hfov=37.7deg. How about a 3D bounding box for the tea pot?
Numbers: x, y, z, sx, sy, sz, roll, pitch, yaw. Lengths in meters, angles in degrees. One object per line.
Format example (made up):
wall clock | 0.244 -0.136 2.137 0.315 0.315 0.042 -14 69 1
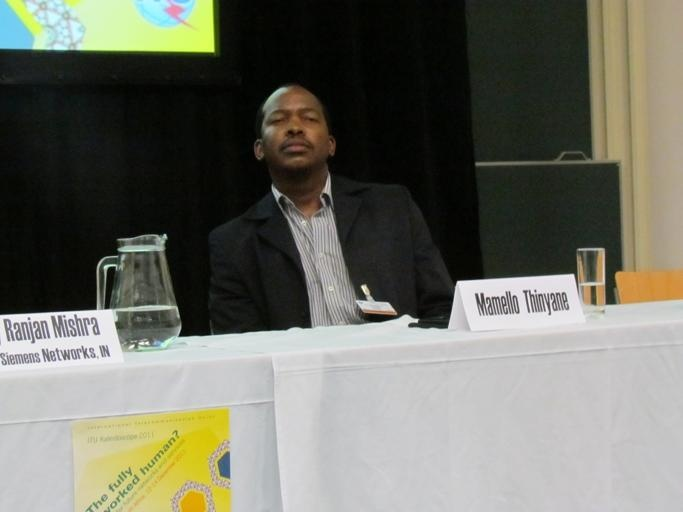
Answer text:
tea pot | -0.527 0.092 2.825 0.287 0.349 0.251 -5 -3 24

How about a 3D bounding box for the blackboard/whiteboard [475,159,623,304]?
blackboard/whiteboard | 0.835 -0.102 4.117 0.621 0.621 0.220 -1 -2 -2

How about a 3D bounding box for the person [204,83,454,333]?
person | -0.072 -0.199 3.577 0.863 0.797 0.372 -6 2 4
